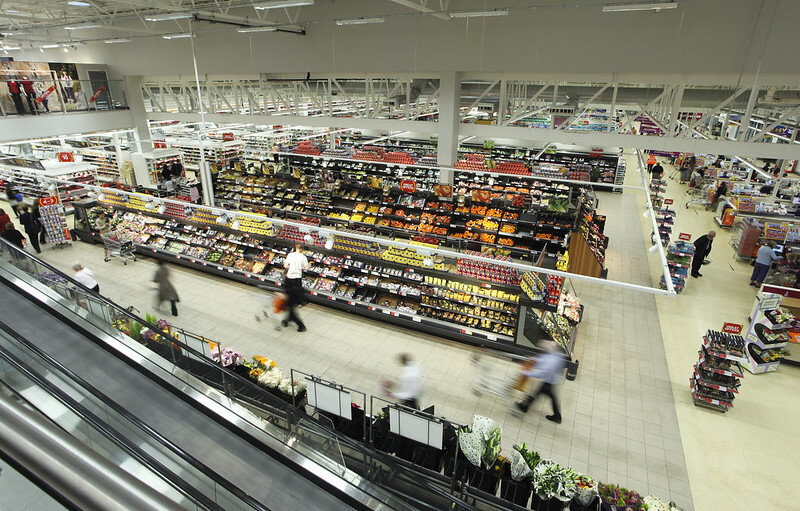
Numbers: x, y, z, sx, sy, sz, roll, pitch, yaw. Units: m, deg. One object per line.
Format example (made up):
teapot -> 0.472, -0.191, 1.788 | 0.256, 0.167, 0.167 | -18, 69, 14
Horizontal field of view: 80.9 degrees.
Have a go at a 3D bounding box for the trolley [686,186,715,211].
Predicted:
trolley -> 13.439, -2.542, 20.883 | 1.030, 0.681, 0.766 | 22, 46, 31

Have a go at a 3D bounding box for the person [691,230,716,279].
person -> 9.958, 0.037, 15.321 | 0.724, 1.581, 0.594 | -42, 51, -16

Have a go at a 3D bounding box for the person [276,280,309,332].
person -> -2.848, 1.386, 12.436 | 0.930, 1.487, 0.807 | 13, 23, 6

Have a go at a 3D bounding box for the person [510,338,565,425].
person -> 3.076, 2.844, 10.250 | 1.361, 1.988, 0.933 | -2, 2, -26

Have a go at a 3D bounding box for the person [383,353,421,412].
person -> 0.039, 2.777, 10.075 | 0.552, 1.287, 0.516 | 17, 52, 18

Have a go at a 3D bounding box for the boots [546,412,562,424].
boots -> 3.366, 3.555, 10.220 | 0.346, 0.214, 0.123 | 15, 39, 25

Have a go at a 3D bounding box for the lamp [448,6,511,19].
lamp -> 2.348, -6.957, 13.330 | 0.235, 0.266, 1.656 | -7, 22, -24
